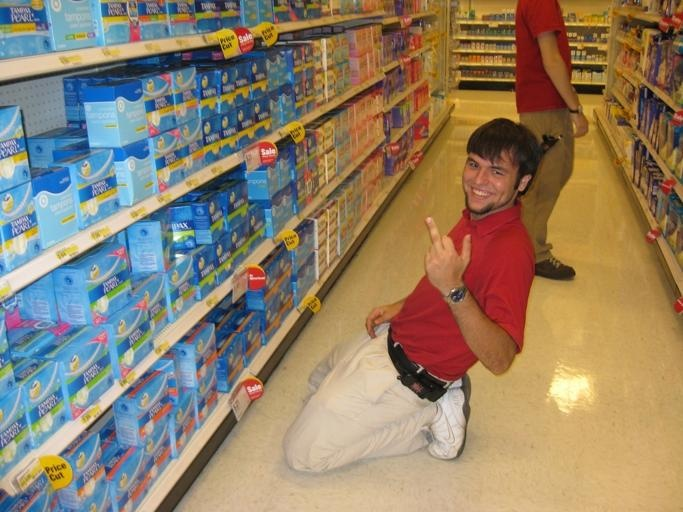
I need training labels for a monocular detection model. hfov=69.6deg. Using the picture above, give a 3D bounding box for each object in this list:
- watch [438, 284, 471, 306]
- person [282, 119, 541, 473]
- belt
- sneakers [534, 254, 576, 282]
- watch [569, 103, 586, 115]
[{"bbox_3d":[0.399,0.135,1.696,0.064,0.066,0.016,-38,45,14],"label":"watch"},{"bbox_3d":[0.346,0.193,2.317,0.876,1.677,0.943,8,17,-1],"label":"person"},{"bbox_3d":[0.358,0.531,2.333,0.104,0.228,0.262,-44,-4,-1],"label":"belt"},{"bbox_3d":[1.787,0.091,4.217,0.387,0.173,0.220,13,38,27],"label":"sneakers"},{"bbox_3d":[1.929,-1.204,4.022,0.035,0.092,0.101,16,65,-15],"label":"watch"}]
